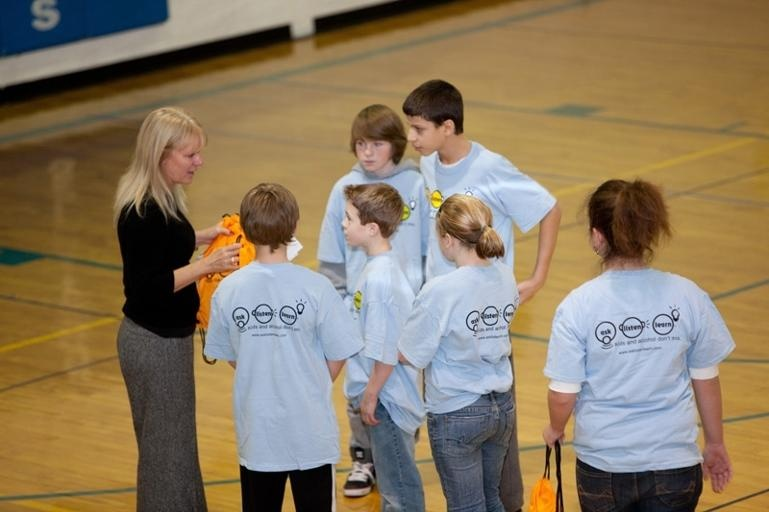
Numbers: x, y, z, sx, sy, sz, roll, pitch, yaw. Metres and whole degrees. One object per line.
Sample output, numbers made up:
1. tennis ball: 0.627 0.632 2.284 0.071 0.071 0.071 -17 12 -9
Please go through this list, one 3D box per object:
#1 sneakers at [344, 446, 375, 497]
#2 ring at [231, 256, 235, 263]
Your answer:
1. sneakers: -0.173 1.603 7.684 0.189 0.164 0.429 0 13 8
2. ring: -1.037 0.021 7.143 0.026 0.028 0.010 7 -3 -2
